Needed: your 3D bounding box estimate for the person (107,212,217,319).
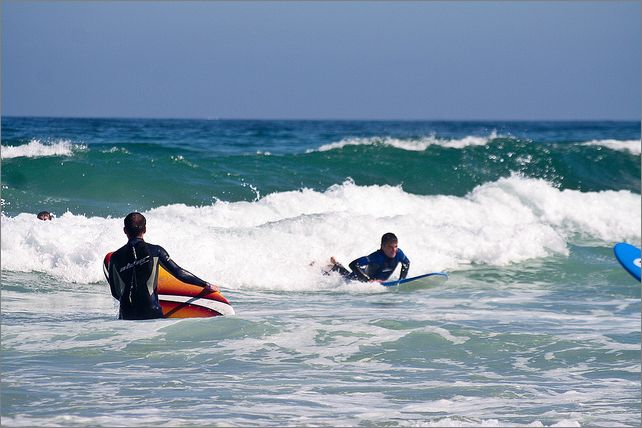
[{"bbox_3d":[-2.812,0.960,14.763,1.639,2.407,0.820,6,42,-2],"label":"person"}]
